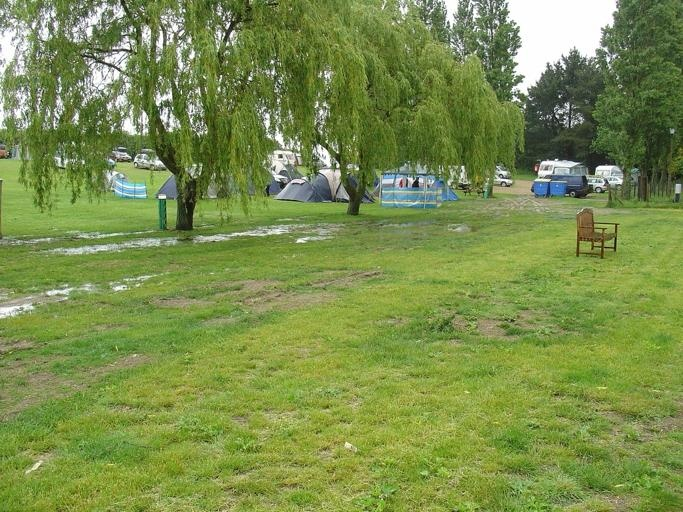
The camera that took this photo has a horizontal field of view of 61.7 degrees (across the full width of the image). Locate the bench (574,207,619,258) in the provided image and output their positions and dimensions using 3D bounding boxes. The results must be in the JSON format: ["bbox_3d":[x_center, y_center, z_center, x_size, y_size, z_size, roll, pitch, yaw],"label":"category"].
[{"bbox_3d":[7.729,-0.711,17.227,0.813,1.398,1.819,7,10,37],"label":"bench"}]

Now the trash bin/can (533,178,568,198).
[{"bbox_3d":[18.183,-5.941,49.858,2.656,1.296,2.657,4,12,19],"label":"trash bin/can"}]
